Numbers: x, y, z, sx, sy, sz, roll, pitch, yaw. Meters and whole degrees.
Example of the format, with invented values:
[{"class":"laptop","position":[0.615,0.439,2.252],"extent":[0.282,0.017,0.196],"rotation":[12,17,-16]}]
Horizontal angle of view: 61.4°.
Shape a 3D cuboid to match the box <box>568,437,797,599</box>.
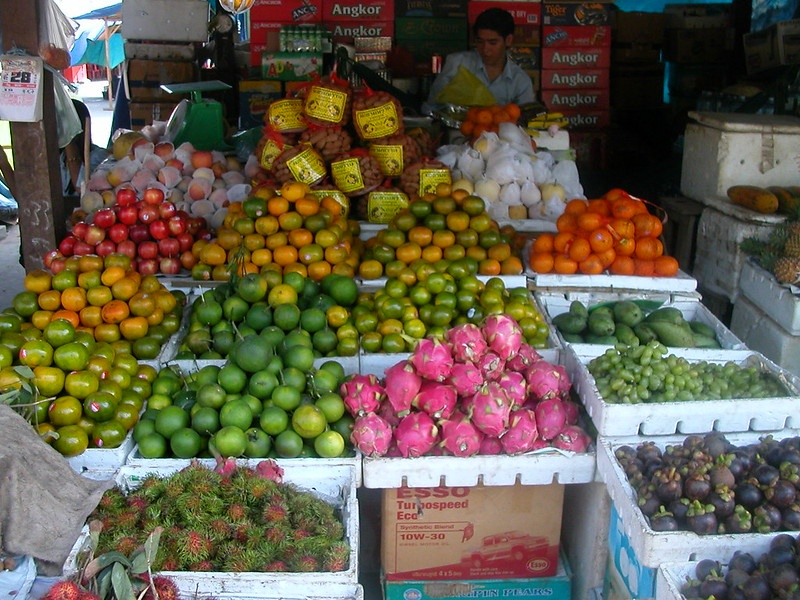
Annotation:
[{"class":"box","position":[1.007,0.937,2.799],"extent":[0.772,0.497,0.788],"rotation":[-2,6,5]}]
